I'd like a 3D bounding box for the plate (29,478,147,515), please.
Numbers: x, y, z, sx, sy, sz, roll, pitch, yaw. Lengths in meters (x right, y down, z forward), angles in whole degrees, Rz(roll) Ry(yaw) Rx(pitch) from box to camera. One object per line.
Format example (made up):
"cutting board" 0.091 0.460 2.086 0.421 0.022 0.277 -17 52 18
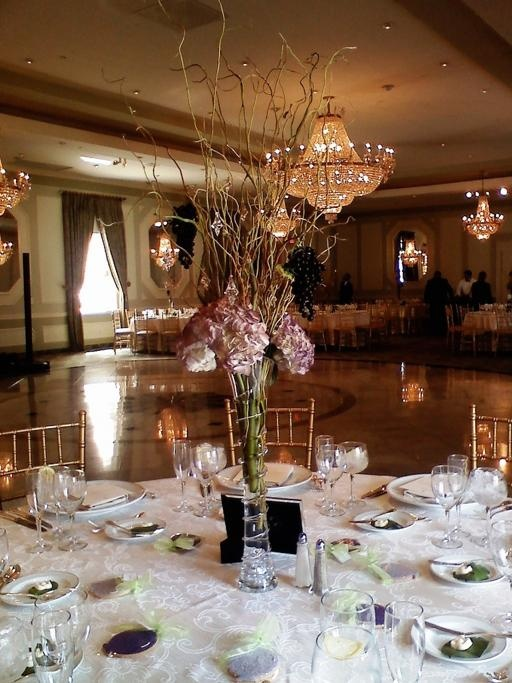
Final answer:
"plate" -0.476 0.442 1.491 0.193 0.027 0.194 1 10 7

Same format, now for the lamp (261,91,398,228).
"lamp" 1.060 -2.649 7.525 1.954 2.119 1.897 -4 26 1

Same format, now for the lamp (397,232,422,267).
"lamp" 5.002 -2.915 17.050 0.852 1.021 0.822 -4 5 -12

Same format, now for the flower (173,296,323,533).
"flower" -0.056 0.111 1.361 0.396 0.653 0.455 -6 5 -15

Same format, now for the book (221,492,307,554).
"book" 0.016 0.441 1.250 0.216 0.044 0.198 11 24 4
